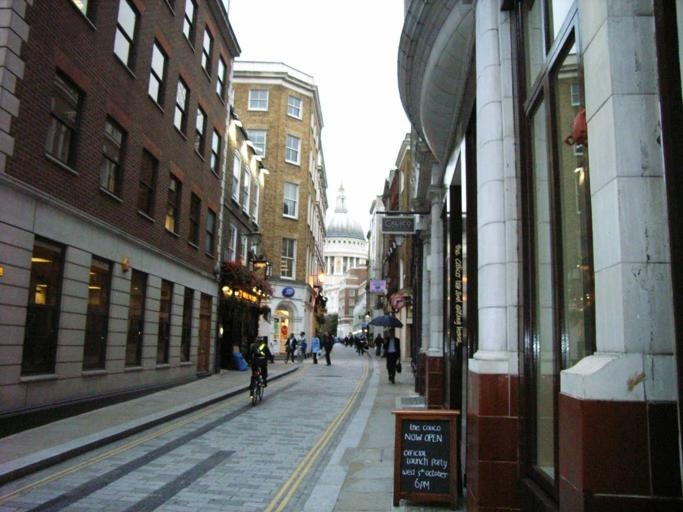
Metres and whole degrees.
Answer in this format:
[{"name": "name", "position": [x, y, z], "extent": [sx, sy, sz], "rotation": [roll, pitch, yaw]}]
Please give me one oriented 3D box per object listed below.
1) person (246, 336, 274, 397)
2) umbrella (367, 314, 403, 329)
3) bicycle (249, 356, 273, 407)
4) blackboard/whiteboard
[{"name": "person", "position": [-2.259, 3.029, 16.175], "extent": [0.674, 1.738, 0.817], "rotation": [-2, -6, 27]}, {"name": "umbrella", "position": [1.770, 2.880, 25.275], "extent": [1.108, 0.453, 1.163], "rotation": [-9, -15, 40]}, {"name": "bicycle", "position": [-2.160, 3.424, 15.745], "extent": [0.457, 0.707, 1.075], "rotation": [0, -21, 0]}, {"name": "blackboard/whiteboard", "position": [1.041, 2.478, 7.189], "extent": [0.939, 1.516, 0.308], "rotation": [1, -11, -1]}]
